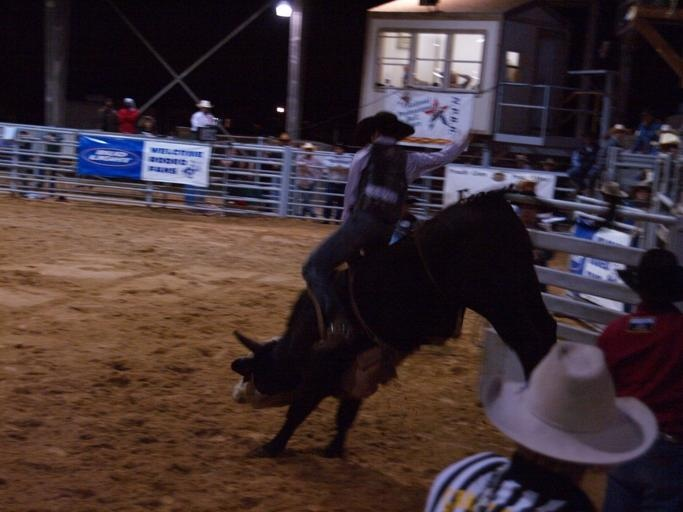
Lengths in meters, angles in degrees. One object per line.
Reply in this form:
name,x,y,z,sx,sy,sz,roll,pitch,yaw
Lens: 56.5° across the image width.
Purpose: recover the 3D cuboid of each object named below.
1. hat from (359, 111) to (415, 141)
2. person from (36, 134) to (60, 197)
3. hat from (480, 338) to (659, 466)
hat,0.272,-0.839,4.191,0.312,0.077,0.261,-2,2,-2
person,-6.712,-2.114,14.389,0.488,1.413,1.376,1,10,-26
hat,0.870,0.528,2.627,0.672,0.193,0.617,-3,17,-11
